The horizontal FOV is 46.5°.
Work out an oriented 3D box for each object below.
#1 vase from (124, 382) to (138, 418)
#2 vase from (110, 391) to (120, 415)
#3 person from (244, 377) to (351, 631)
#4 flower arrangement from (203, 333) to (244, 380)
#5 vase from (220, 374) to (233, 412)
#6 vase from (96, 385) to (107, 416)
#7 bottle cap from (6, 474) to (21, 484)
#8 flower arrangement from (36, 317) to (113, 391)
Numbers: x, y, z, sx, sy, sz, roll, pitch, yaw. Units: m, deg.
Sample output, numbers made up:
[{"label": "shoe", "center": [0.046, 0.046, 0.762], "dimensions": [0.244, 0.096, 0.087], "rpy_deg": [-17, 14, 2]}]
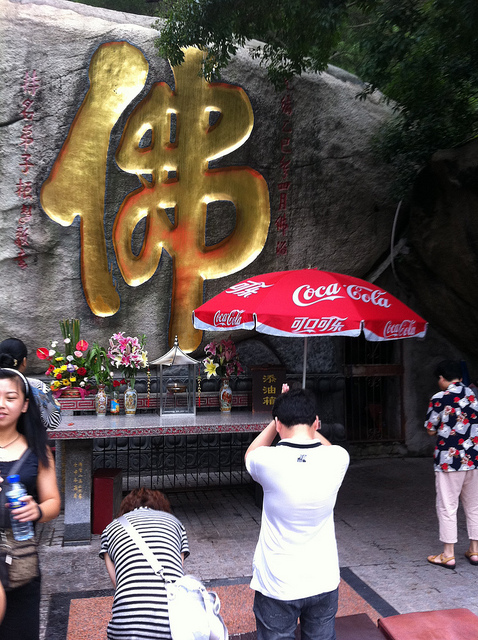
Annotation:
[{"label": "vase", "center": [-1.095, 0.794, 5.642], "dimensions": [0.121, 0.318, 0.307], "rpy_deg": [1, -2, -11]}, {"label": "vase", "center": [-1.241, 0.824, 5.538], "dimensions": [0.076, 0.236, 0.092], "rpy_deg": [1, -2, -7]}, {"label": "person", "center": [0.202, 0.697, 1.965], "dimensions": [0.353, 0.877, 0.260], "rpy_deg": [1, -2, 9]}, {"label": "flower arrangement", "center": [-0.170, 0.392, 5.926], "dimensions": [0.360, 0.423, 0.313], "rpy_deg": [3, 5, -9]}, {"label": "vase", "center": [-0.130, 0.778, 5.938], "dimensions": [0.132, 0.393, 0.242], "rpy_deg": [1, -2, 1]}, {"label": "vase", "center": [-1.348, 0.784, 5.433], "dimensions": [0.092, 0.300, 0.065], "rpy_deg": [1, -2, -13]}, {"label": "bottle cap", "center": [-0.759, 0.535, 1.863], "dimensions": [0.031, 0.014, 0.028], "rpy_deg": [0, -2, -2]}, {"label": "flower arrangement", "center": [-1.724, 0.356, 5.377], "dimensions": [0.598, 0.692, 0.564], "rpy_deg": [8, -3, 30]}]
